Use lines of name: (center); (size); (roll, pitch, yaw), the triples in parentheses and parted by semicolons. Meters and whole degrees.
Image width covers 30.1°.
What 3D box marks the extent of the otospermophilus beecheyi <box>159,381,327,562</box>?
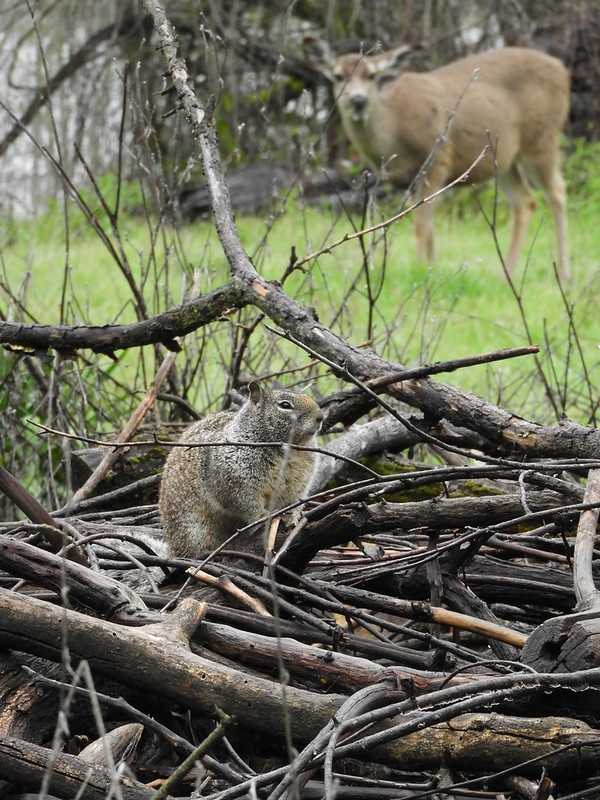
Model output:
otospermophilus beecheyi: (-0.182, 0.306, 4.535); (0.532, 0.623, 0.914); (3, -14, -39)
